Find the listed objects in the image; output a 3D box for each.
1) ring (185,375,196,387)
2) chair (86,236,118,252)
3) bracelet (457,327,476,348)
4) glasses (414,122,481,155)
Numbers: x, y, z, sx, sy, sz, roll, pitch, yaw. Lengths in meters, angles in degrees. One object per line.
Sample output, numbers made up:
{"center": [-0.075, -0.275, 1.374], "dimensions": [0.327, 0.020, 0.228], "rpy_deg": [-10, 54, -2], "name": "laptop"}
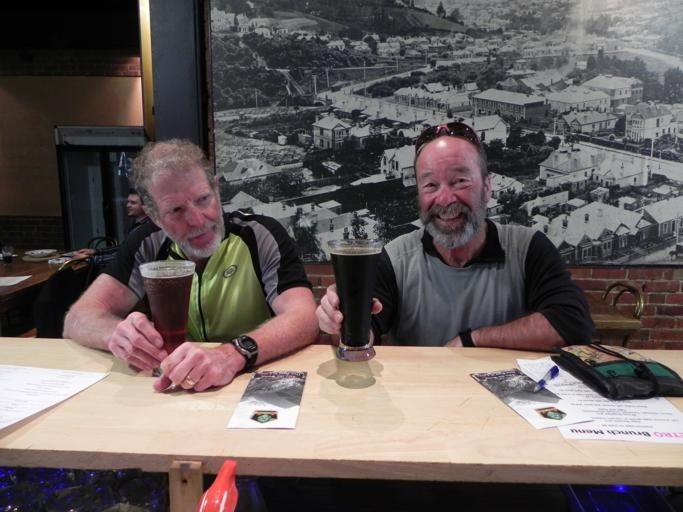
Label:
{"center": [-0.457, 0.384, 1.684], "dimensions": [0.024, 0.033, 0.014], "rpy_deg": [-37, -7, -5], "name": "ring"}
{"center": [-2.400, -0.116, 5.571], "dimensions": [0.177, 0.232, 0.174], "rpy_deg": [2, 3, -43], "name": "chair"}
{"center": [0.469, 0.311, 2.051], "dimensions": [0.047, 0.055, 0.026], "rpy_deg": [-12, -31, 8], "name": "bracelet"}
{"center": [0.442, -0.490, 2.289], "dimensions": [0.265, 0.126, 0.205], "rpy_deg": [-2, 11, 13], "name": "glasses"}
